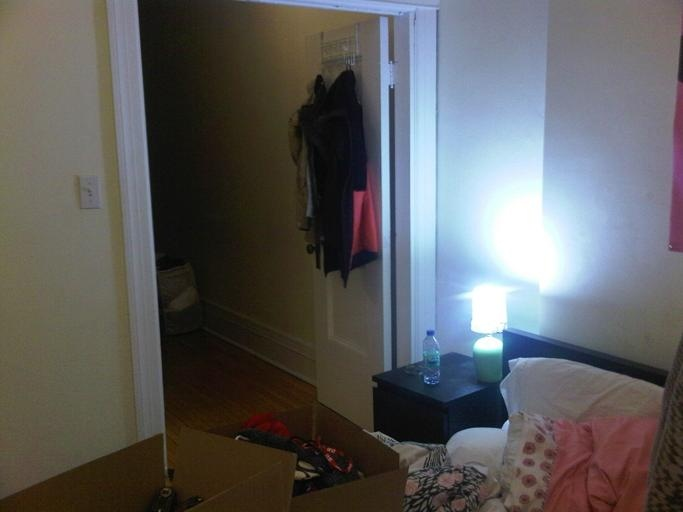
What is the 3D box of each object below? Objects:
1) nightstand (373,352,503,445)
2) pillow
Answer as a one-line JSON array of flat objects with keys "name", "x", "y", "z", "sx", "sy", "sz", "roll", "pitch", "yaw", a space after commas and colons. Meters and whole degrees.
[{"name": "nightstand", "x": 0.480, "y": 0.683, "z": 2.970, "sx": 0.398, "sy": 0.443, "sz": 0.396, "roll": -10, "pitch": 14, "yaw": -39}, {"name": "pillow", "x": 0.940, "y": 0.592, "z": 2.454, "sx": 0.650, "sy": 0.255, "sz": 0.190, "roll": 9, "pitch": 17, "yaw": 41}]
